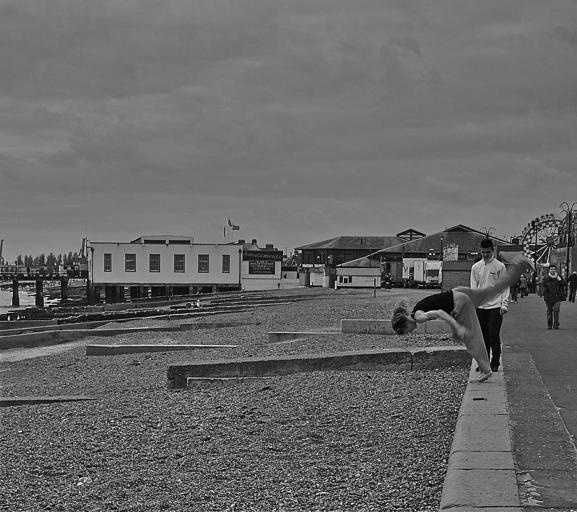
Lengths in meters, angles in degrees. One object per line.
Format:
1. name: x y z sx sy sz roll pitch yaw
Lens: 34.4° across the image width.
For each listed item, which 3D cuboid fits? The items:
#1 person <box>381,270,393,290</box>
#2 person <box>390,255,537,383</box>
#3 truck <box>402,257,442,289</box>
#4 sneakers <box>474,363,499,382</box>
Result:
1. person: 8.790 2.160 82.243 1.055 1.112 3.210 -7 7 13
2. person: 2.106 0.786 10.828 1.758 1.078 0.819 -14 5 3
3. truck: 10.959 1.398 71.874 1.454 1.744 6.200 0 -1 -5
4. sneakers: 2.392 1.462 11.353 0.160 0.194 0.469 -15 2 22
